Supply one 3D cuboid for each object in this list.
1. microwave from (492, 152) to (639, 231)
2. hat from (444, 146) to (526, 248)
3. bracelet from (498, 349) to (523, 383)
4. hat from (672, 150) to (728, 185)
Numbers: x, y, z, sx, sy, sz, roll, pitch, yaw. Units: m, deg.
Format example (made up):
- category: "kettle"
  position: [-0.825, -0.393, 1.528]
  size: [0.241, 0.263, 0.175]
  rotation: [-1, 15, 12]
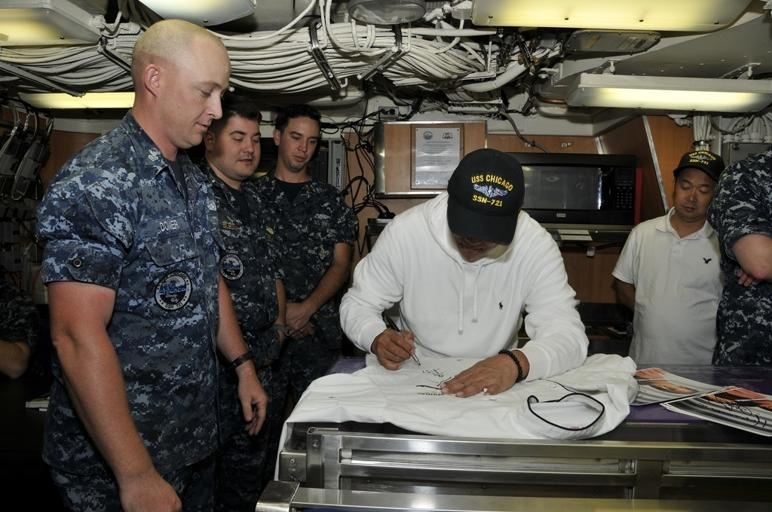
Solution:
- category: "microwave"
  position: [1.384, -0.449, 4.364]
  size: [0.943, 0.530, 0.563]
  rotation: [1, 2, 1]
- category: "hat"
  position: [0.397, -0.231, 2.397]
  size: [0.295, 0.195, 0.391]
  rotation: [11, 46, 6]
- category: "bracelet"
  position: [0.507, 0.429, 2.366]
  size: [0.031, 0.104, 0.094]
  rotation: [-17, -4, 6]
- category: "hat"
  position: [1.879, -0.553, 3.583]
  size: [0.346, 0.163, 0.245]
  rotation: [12, 6, -44]
